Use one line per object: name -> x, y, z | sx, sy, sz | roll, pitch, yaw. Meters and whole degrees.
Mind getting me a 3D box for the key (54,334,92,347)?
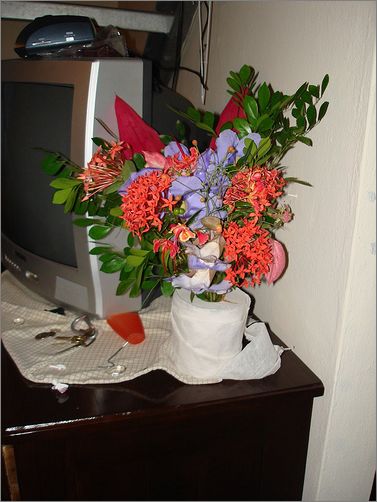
key -> -0.226, 0.174, 0.781 | 0.048, 0.014, 0.028 | -1, -2, 6
